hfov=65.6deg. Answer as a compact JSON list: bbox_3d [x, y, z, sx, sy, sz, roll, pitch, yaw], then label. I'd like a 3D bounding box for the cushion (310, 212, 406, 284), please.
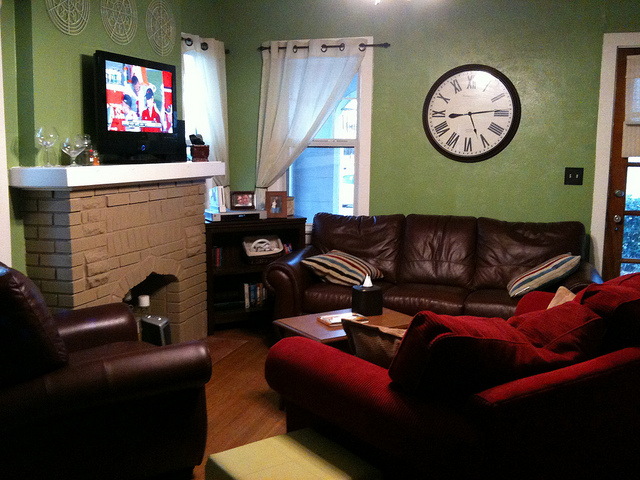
[{"bbox_3d":[0.333,0.049,4.679,0.864,0.586,0.309,7,13,18],"label":"cushion"}]

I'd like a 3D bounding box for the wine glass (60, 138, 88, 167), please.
[{"bbox_3d":[-1.591,-0.579,3.209,0.182,0.175,0.144,2,15,41],"label":"wine glass"}]

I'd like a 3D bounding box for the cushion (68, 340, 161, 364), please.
[{"bbox_3d":[-1.176,0.609,2.734,0.181,0.053,0.259,2,5,42],"label":"cushion"}]

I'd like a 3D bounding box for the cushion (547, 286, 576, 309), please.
[{"bbox_3d":[1.253,0.298,2.565,0.099,0.035,0.098,-31,8,0],"label":"cushion"}]

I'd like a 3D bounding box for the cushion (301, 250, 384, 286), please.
[{"bbox_3d":[0.161,0.229,4.200,0.384,0.120,0.363,7,10,-41],"label":"cushion"}]

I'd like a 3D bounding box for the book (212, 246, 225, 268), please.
[{"bbox_3d":[-0.901,0.145,4.596,0.157,0.216,0.219,0,3,-1],"label":"book"}]

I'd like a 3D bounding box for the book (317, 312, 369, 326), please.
[{"bbox_3d":[0.140,0.476,2.975,0.183,0.019,0.166,-3,7,-25],"label":"book"}]

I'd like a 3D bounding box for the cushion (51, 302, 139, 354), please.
[{"bbox_3d":[-1.276,0.495,2.845,0.314,0.284,0.314,-13,33,-25],"label":"cushion"}]

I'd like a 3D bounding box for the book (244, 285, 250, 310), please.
[{"bbox_3d":[-0.667,0.518,4.501,0.037,0.157,0.156,1,10,-14],"label":"book"}]

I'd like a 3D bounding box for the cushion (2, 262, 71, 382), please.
[{"bbox_3d":[-1.222,0.337,2.048,0.241,0.436,0.165,-14,13,-27],"label":"cushion"}]

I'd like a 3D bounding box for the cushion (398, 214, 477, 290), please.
[{"bbox_3d":[1.043,0.118,4.342,0.676,0.638,0.309,2,-5,25],"label":"cushion"}]

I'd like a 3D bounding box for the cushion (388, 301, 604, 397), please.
[{"bbox_3d":[0.635,0.323,1.801,0.661,0.261,0.362,-19,13,-17],"label":"cushion"}]

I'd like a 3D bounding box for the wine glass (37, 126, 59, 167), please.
[{"bbox_3d":[-1.677,-0.585,3.079,0.117,0.242,0.203,-13,12,-24],"label":"wine glass"}]

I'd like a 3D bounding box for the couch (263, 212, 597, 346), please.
[{"bbox_3d":[0.953,0.397,4.233,2.537,1.066,1.000,3,10,24],"label":"couch"}]

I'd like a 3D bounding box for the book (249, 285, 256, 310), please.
[{"bbox_3d":[-0.619,0.521,4.524,0.068,0.204,0.211,0,2,-6],"label":"book"}]

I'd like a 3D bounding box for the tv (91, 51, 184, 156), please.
[{"bbox_3d":[-1.264,-0.942,3.632,0.865,0.742,0.200,14,19,31],"label":"tv"}]

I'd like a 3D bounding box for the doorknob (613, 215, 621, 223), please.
[{"bbox_3d":[2.638,-0.191,4.399,0.066,0.066,0.015,5,1,15],"label":"doorknob"}]

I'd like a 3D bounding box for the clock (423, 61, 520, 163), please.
[{"bbox_3d":[1.431,-1.207,4.570,0.927,0.921,0.132,1,6,21],"label":"clock"}]
